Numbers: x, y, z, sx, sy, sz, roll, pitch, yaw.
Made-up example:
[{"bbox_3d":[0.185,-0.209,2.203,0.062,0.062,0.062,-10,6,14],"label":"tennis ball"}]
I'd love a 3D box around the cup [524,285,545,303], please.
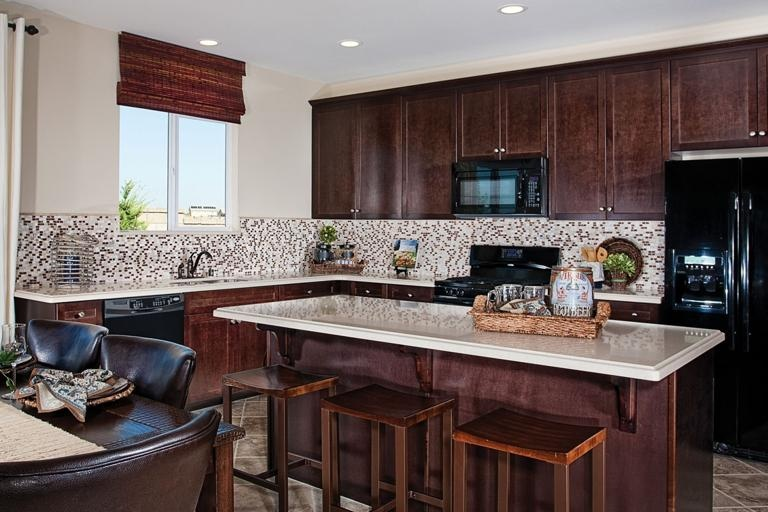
[{"bbox_3d":[0.774,0.197,2.797,0.076,0.067,0.097,-1,4,-44],"label":"cup"}]

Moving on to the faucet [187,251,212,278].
[{"bbox_3d":[-1.847,0.073,5.492,0.118,0.261,0.302,2,4,28],"label":"faucet"}]

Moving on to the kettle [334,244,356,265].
[{"bbox_3d":[-0.435,-0.001,6.347,0.281,0.276,0.236,0,-2,36],"label":"kettle"}]

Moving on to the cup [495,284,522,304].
[{"bbox_3d":[0.646,0.199,2.862,0.138,0.107,0.084,0,1,-1],"label":"cup"}]

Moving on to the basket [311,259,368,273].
[{"bbox_3d":[-0.528,0.107,6.239,0.609,0.159,0.266,0,4,-4],"label":"basket"}]

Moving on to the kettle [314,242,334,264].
[{"bbox_3d":[-0.687,-0.036,6.245,0.235,0.293,0.211,-4,8,-28],"label":"kettle"}]

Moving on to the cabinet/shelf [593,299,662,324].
[{"bbox_3d":[1.843,0.409,4.048,0.320,0.190,0.185,2,6,38],"label":"cabinet/shelf"}]

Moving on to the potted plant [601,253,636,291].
[{"bbox_3d":[2.121,0.128,4.908,0.322,0.357,0.360,-1,1,9],"label":"potted plant"}]

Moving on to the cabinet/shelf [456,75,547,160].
[{"bbox_3d":[1.189,-1.360,5.309,0.975,0.779,0.411,2,3,33],"label":"cabinet/shelf"}]

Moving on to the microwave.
[{"bbox_3d":[1.117,-0.682,5.313,0.974,0.588,0.590,1,0,37],"label":"microwave"}]

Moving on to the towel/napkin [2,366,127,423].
[{"bbox_3d":[-1.329,0.561,2.279,0.266,0.056,0.260,5,4,17],"label":"towel/napkin"}]

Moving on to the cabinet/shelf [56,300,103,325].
[{"bbox_3d":[-2.355,0.433,4.243,0.204,0.275,0.303,2,1,39],"label":"cabinet/shelf"}]
